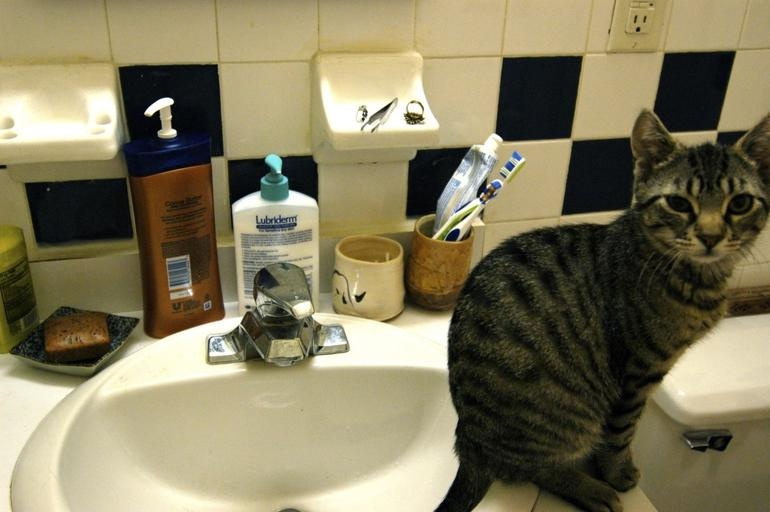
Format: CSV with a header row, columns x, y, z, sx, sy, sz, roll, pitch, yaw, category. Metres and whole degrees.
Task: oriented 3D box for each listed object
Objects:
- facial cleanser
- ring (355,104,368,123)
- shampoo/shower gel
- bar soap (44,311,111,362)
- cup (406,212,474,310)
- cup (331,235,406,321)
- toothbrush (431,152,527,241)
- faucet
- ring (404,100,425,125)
x,y,z,sx,sy,sz,roll,pitch,yaw,category
-0.192,-0.040,1.096,0.158,0.269,0.136,-2,22,-6,facial cleanser
-0.039,-0.254,1.052,0.023,0.024,0.037,-1,24,-1,ring
-0.341,-0.060,1.007,0.166,0.407,0.136,-6,25,-19,shampoo/shower gel
-0.496,0.126,0.988,0.131,0.068,0.111,-4,19,-25,bar soap
0.125,0.022,1.152,0.090,0.170,0.133,-16,30,-26,cup
-0.037,0.050,1.134,0.140,0.158,0.105,-9,27,-21,cup
0.174,-0.108,1.117,0.179,0.158,0.122,22,34,33,toothbrush
-0.173,0.101,0.936,0.236,0.169,0.128,-4,25,-9,faucet
0.056,-0.259,1.062,0.037,0.036,0.048,0,24,2,ring
